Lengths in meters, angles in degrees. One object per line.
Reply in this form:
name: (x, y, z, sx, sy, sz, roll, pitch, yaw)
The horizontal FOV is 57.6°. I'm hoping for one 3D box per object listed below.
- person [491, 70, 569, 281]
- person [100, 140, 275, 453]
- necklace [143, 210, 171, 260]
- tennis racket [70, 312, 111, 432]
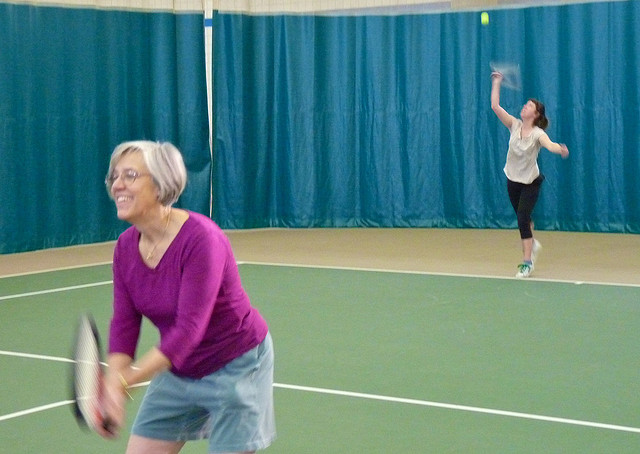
person: (2.127, -0.568, 6.012, 0.535, 2.081, 1.130, 0, 7, 4)
person: (-0.471, 0.290, 2.021, 0.607, 1.162, 0.388, -2, 7, -12)
necklace: (-0.560, 0.024, 1.991, 0.040, 0.166, 0.007, 13, -10, 17)
tennis racket: (-0.703, 0.444, 1.844, 0.250, 0.214, 0.065, 17, -11, 44)
